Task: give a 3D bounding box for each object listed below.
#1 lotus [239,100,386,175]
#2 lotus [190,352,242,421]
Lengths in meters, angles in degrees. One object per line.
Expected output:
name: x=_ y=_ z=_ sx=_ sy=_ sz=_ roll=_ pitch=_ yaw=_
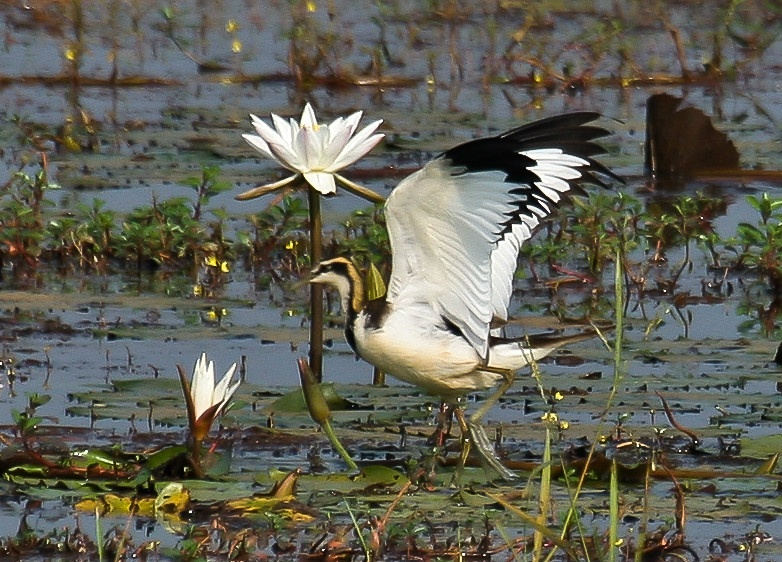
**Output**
lotus: x=-0.405 y=-0.651 z=7.591 sx=0.551 sy=0.164 sz=0.543 roll=-17 pitch=-16 yaw=37
lotus: x=-0.849 y=0.514 z=6.889 sx=0.222 sy=0.315 sz=0.318 roll=0 pitch=-1 yaw=-7
